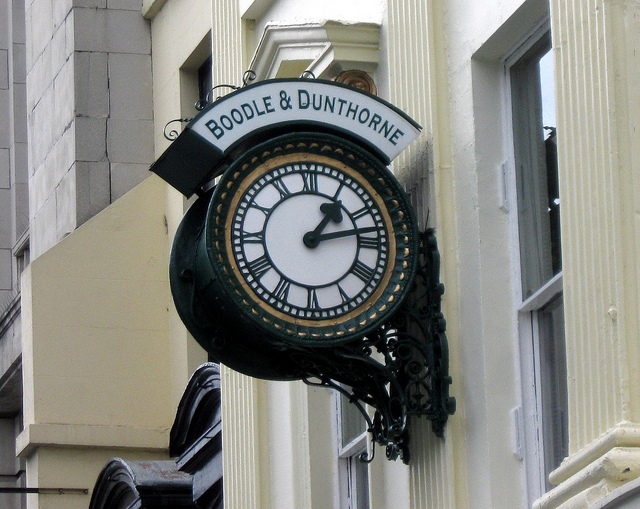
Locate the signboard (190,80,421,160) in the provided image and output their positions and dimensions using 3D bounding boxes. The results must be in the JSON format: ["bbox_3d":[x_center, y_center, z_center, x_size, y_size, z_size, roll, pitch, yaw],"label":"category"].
[{"bbox_3d":[-0.120,-1.159,21.693,1.942,0.558,0.335,2,-38,-7],"label":"signboard"}]

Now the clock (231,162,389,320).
[{"bbox_3d":[-0.131,-0.040,21.428,1.135,1.154,0.075,13,-17,-12],"label":"clock"}]

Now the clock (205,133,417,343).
[{"bbox_3d":[-0.093,-0.096,21.465,1.689,1.720,0.303,2,-11,-10],"label":"clock"}]
